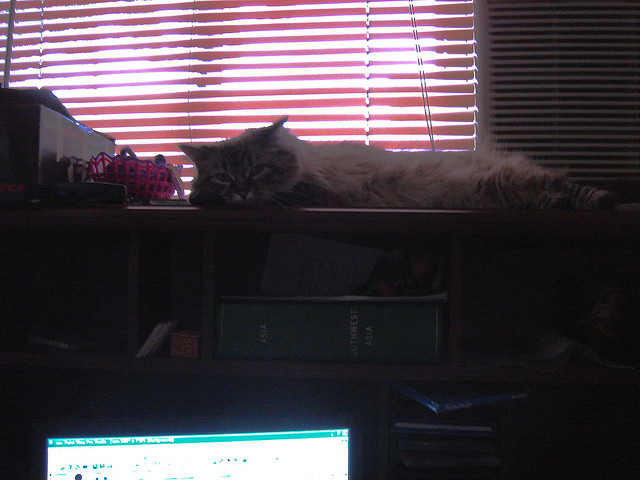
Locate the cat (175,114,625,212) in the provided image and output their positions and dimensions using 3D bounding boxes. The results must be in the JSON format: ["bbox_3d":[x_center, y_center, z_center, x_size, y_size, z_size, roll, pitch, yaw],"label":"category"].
[{"bbox_3d":[0.191,-0.165,2.338,1.508,0.262,0.408,0,-1,2],"label":"cat"}]

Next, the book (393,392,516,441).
[{"bbox_3d":[0.358,0.552,2.349,0.494,0.128,0.182,2,-5,1],"label":"book"}]

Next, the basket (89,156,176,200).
[{"bbox_3d":[-0.551,-0.182,2.264,0.154,0.065,0.165,0,-12,-1],"label":"basket"}]

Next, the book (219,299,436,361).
[{"bbox_3d":[0.021,0.250,2.133,0.589,0.158,0.067,1,-5,-4],"label":"book"}]

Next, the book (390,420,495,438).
[{"bbox_3d":[0.373,0.571,2.335,0.318,0.045,0.041,0,-5,1],"label":"book"}]

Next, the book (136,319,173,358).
[{"bbox_3d":[-0.470,0.283,2.199,0.088,0.100,0.088,1,-5,0],"label":"book"}]

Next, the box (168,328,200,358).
[{"bbox_3d":[-0.380,0.291,2.182,0.092,0.075,0.049,3,5,5],"label":"box"}]
